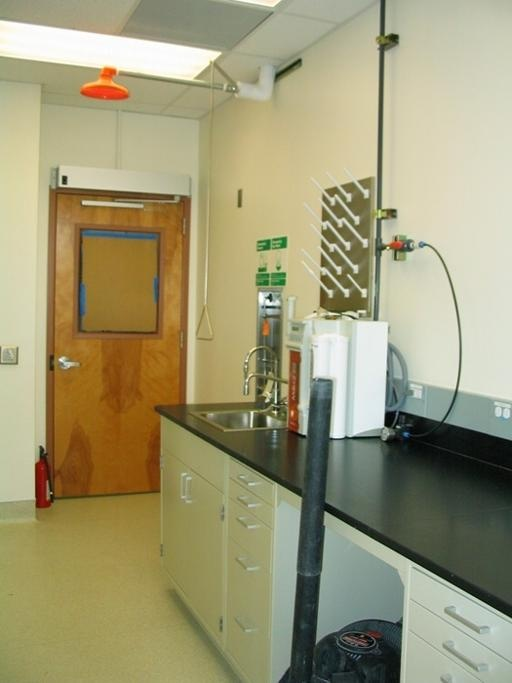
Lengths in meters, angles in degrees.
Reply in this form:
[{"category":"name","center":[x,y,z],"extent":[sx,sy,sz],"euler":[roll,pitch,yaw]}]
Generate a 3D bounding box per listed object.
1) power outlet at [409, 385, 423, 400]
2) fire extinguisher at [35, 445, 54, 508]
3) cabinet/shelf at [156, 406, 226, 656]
[{"category":"power outlet","center":[0.591,0.185,2.068],"extent":[0.012,0.054,0.085],"euler":[1,2,-13]},{"category":"fire extinguisher","center":[-1.498,0.962,3.952],"extent":[0.120,0.405,0.231],"euler":[1,1,-21]},{"category":"cabinet/shelf","center":[-0.270,0.812,2.364],"extent":[0.267,0.794,0.760],"euler":[2,1,-17]}]
